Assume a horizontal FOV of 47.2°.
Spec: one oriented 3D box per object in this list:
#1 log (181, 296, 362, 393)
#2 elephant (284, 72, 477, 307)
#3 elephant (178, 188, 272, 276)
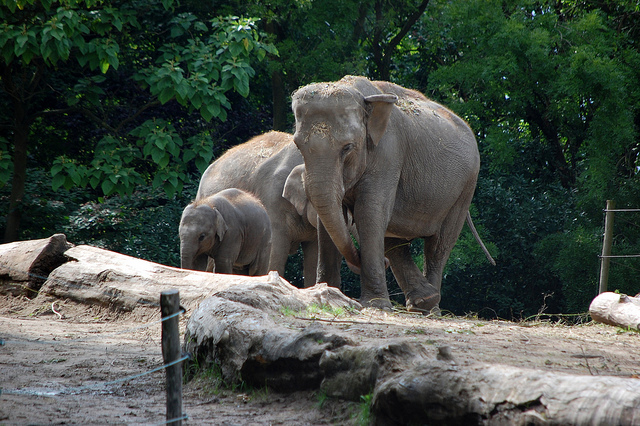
[{"bbox_3d":[-0.590,1.284,7.294,1.240,0.477,0.944,18,-16,38],"label":"log"},{"bbox_3d":[0.831,-0.161,10.558,1.656,3.058,3.868,-2,-10,36],"label":"elephant"},{"bbox_3d":[-1.511,0.508,11.520,0.807,1.671,2.006,5,5,34],"label":"elephant"}]
